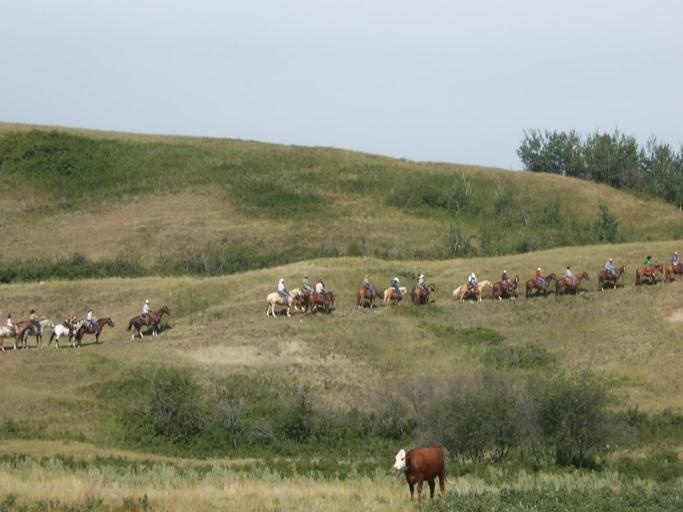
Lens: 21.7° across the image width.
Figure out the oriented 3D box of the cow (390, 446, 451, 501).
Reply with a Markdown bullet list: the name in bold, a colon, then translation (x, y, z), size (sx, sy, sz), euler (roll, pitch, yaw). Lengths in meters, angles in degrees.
- **cow**: translation (5.623, 15.449, 131.094), size (6.676, 3.909, 1.827), euler (12, -17, -43)

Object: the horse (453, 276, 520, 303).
- **horse**: translation (13.130, 2.911, 158.228), size (5.420, 2.128, 2.596), euler (-2, -1, 5)
